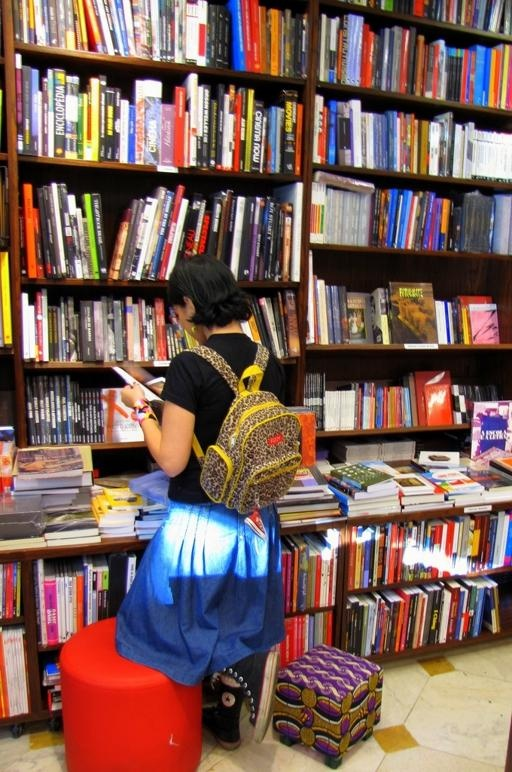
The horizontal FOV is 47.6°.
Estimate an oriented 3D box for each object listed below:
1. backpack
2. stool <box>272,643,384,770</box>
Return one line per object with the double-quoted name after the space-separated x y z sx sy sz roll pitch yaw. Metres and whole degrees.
-0.023 0.114 1.318 0.230 0.418 0.228 2 3 17 "backpack"
0.224 0.947 1.831 0.280 0.261 0.290 6 11 36 "stool"
